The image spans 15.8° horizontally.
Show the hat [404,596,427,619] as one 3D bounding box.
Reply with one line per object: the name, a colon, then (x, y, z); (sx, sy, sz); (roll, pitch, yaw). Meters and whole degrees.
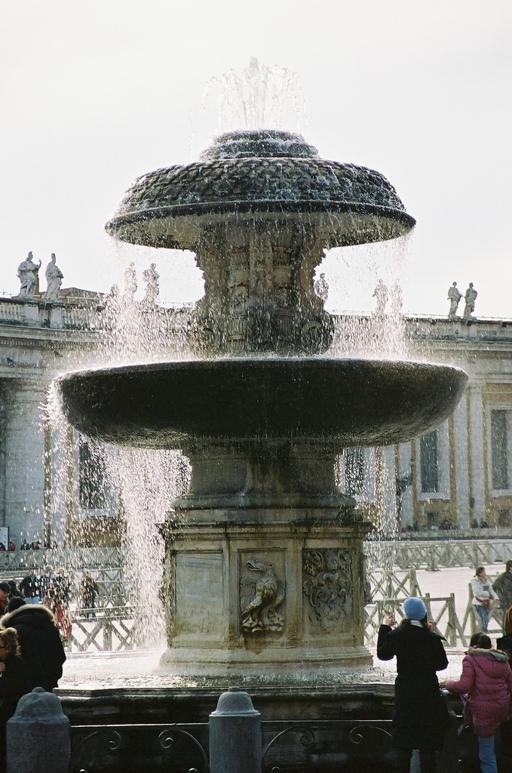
hat: (0.785, 1.043, 8.905); (0.070, 0.092, 0.125); (0, 25, 1)
